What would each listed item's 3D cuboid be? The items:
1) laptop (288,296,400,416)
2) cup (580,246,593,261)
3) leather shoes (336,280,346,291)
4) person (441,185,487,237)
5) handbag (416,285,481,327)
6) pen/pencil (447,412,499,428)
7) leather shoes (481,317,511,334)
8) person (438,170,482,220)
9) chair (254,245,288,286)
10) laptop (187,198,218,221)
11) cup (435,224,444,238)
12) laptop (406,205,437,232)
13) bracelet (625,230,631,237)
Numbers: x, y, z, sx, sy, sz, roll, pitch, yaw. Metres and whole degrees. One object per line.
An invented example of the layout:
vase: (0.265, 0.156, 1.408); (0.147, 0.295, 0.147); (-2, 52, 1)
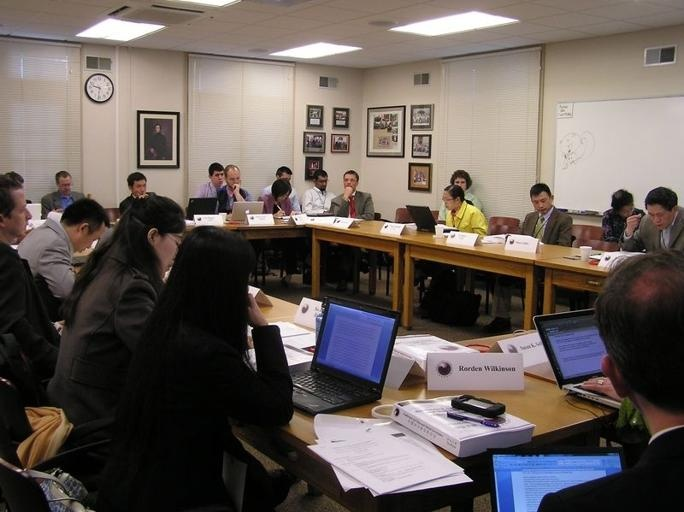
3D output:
laptop: (0.051, 0.352, 1.835); (0.268, 0.356, 0.380); (5, 7, -42)
cup: (2.104, -0.019, 4.281); (0.115, 0.129, 0.116); (3, 6, 0)
leather shoes: (-0.009, 0.417, 6.970); (0.128, 0.159, 0.358); (0, -1, 6)
person: (1.518, -0.542, 6.288); (0.415, 0.728, 0.738); (-13, 15, -17)
handbag: (1.238, 0.545, 5.568); (0.507, 0.217, 0.380); (12, 11, 41)
pen/pencil: (0.385, 0.482, 1.437); (0.110, 0.016, 0.019); (8, 24, 38)
leather shoes: (1.662, 0.737, 5.254); (0.320, 0.239, 0.140); (1, 0, -23)
person: (1.859, -0.870, 7.673); (0.591, 0.877, 0.502); (-8, -13, 28)
chair: (-1.003, 0.127, 7.000); (0.351, 0.475, 0.486); (-5, 10, -24)
laptop: (-1.893, -0.605, 6.691); (0.369, 0.286, 0.254); (-2, -8, -17)
cup: (1.110, -0.277, 5.482); (0.119, 0.138, 0.123); (0, 2, 0)
laptop: (0.981, -0.469, 5.850); (0.294, 0.281, 0.352); (-24, 22, -35)
bracelet: (2.699, -0.208, 4.663); (0.044, 0.050, 0.052); (-1, 1, 9)
